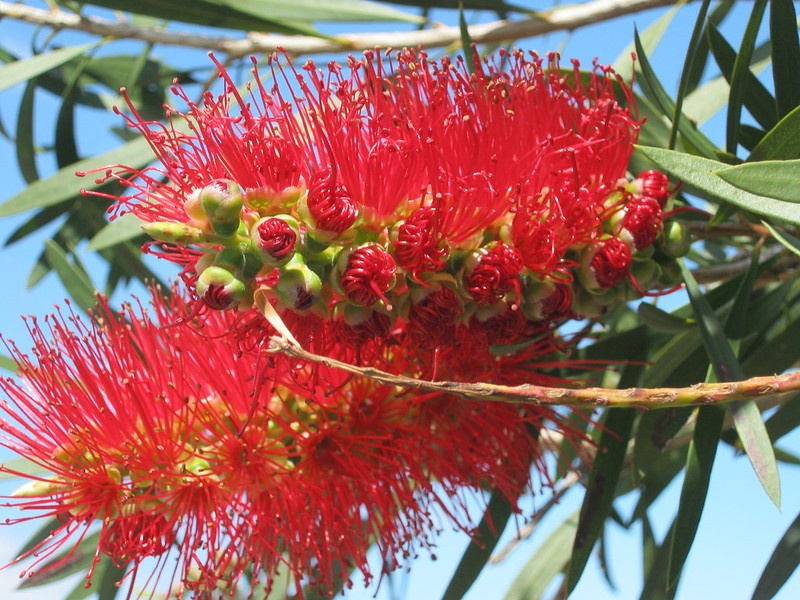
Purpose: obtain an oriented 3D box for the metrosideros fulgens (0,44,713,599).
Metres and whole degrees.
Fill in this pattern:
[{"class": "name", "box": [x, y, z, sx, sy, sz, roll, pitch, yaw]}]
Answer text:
[{"class": "metrosideros fulgens", "box": [-0.059, 0.119, 2.015, 1.073, 1.020, 0.819, -19, -11, 12]}]
